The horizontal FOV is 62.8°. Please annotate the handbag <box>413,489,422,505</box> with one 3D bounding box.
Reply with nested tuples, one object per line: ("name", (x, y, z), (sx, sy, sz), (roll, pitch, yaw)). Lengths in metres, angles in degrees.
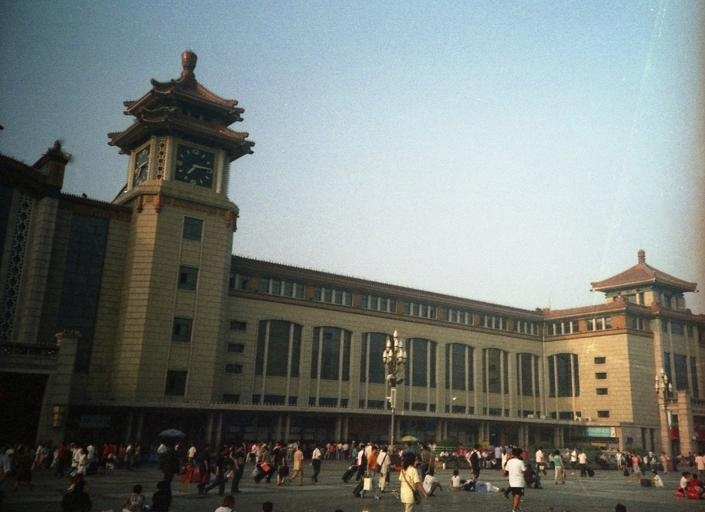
("handbag", (2.204, 8.087, 19.460), (0.226, 0.414, 0.626), (-1, -19, 7))
